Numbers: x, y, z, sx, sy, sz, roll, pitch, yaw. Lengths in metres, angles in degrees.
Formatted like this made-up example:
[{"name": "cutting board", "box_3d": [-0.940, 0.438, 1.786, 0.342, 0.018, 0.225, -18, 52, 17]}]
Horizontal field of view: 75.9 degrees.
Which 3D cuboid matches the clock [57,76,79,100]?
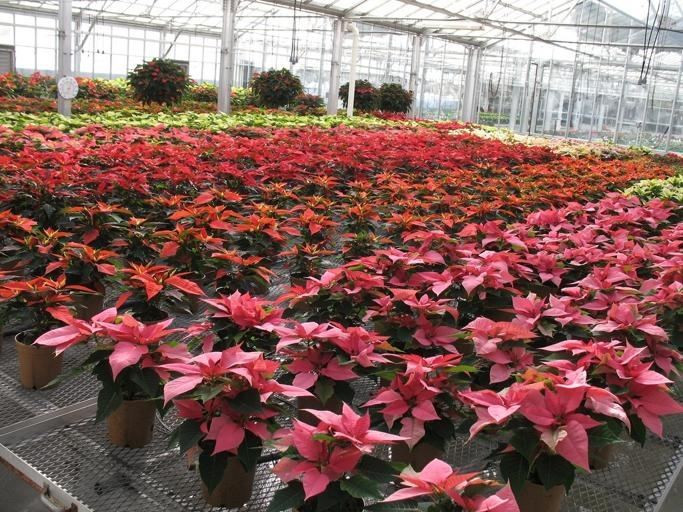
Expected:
[{"name": "clock", "box_3d": [-5.320, -3.323, 8.501, 0.334, 0.453, 0.239, -2, 18, -26]}]
